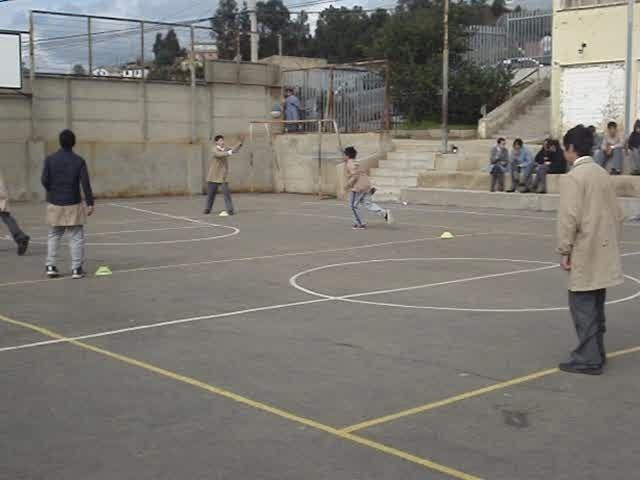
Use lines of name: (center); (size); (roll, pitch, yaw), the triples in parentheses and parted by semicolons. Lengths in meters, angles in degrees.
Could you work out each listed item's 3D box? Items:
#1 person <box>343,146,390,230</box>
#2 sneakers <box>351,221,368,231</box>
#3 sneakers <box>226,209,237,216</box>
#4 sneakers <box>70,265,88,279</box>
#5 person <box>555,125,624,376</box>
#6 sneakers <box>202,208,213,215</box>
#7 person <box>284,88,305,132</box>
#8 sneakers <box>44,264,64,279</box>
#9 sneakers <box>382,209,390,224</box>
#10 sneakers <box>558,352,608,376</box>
person: (1.029, -1.142, 17.504); (1.036, 1.811, 1.094); (-1, 11, -5)
sneakers: (0.856, -0.302, 17.449); (0.305, 0.132, 0.133); (2, 3, 4)
sneakers: (-2.259, -0.730, 20.455); (0.209, 0.203, 0.103); (-6, 24, -13)
sneakers: (-3.642, 0.471, 12.082); (0.170, 0.182, 0.239); (-2, 12, -9)
person: (2.739, 0.074, 8.106); (0.647, 2.406, 0.828); (3, 12, 17)
sneakers: (-2.872, -0.747, 20.747); (0.250, 0.244, 0.136); (4, -2, -38)
person: (-0.961, -4.673, 28.602); (0.714, 1.536, 1.968); (0, 11, -2)
sneakers: (-4.061, 0.465, 12.253); (0.133, 0.148, 0.341); (1, 4, 7)
sneakers: (1.480, -0.480, 17.463); (0.126, 0.344, 0.145); (-13, 31, -14)
sneakers: (2.654, 1.250, 8.068); (0.493, 0.209, 0.171); (3, -2, 18)
